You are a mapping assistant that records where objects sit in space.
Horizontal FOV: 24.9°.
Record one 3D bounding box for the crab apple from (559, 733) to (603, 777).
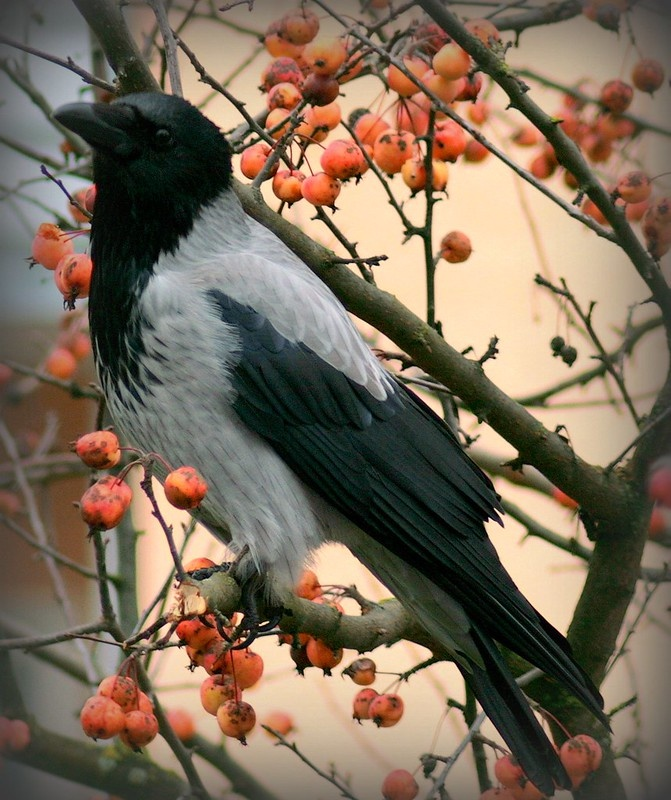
[{"bbox_3d":[0.719,1.043,4.484,0.105,0.123,0.061,-11,-78,-10],"label":"crab apple"}]
